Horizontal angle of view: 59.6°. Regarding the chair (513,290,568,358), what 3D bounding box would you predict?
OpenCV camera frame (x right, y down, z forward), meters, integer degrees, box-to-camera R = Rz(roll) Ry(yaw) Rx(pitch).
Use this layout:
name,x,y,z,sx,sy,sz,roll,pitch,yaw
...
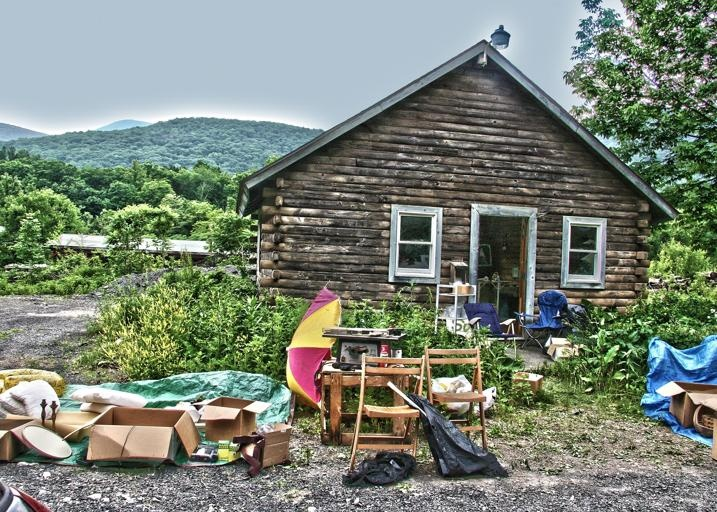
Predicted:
name,x,y,z,sx,sy,sz,roll,pitch,yaw
chair,4.128,1.372,13.976,1.127,1.107,1.058,-5,3,-22

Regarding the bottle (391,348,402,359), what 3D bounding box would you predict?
name,x,y,z,sx,sy,sz,roll,pitch,yaw
bottle,0.646,1.627,10.529,0.183,0.174,0.182,2,-5,-20

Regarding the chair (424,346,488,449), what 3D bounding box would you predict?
name,x,y,z,sx,sy,sz,roll,pitch,yaw
chair,1.538,2.140,9.858,1.008,1.486,1.416,2,-3,10

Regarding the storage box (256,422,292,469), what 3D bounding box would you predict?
name,x,y,z,sx,sy,sz,roll,pitch,yaw
storage box,-1.202,2.694,9.237,0.512,0.594,0.861,1,0,-18

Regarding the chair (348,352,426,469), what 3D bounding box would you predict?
name,x,y,z,sx,sy,sz,roll,pitch,yaw
chair,0.451,2.286,9.424,0.990,1.595,1.285,3,-3,6

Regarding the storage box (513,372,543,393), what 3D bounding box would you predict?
name,x,y,z,sx,sy,sz,roll,pitch,yaw
storage box,2.988,2.196,11.100,0.458,0.250,0.435,0,3,7

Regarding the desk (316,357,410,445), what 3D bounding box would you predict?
name,x,y,z,sx,sy,sz,roll,pitch,yaw
desk,0.230,2.439,9.924,1.471,1.061,1.410,-5,-22,12

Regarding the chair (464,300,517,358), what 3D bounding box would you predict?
name,x,y,z,sx,sy,sz,roll,pitch,yaw
chair,2.803,1.474,13.209,0.901,0.804,1.016,5,2,-20

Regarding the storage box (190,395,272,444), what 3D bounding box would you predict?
name,x,y,z,sx,sy,sz,roll,pitch,yaw
storage box,-1.930,2.436,9.391,1.158,0.418,0.945,2,2,-1
